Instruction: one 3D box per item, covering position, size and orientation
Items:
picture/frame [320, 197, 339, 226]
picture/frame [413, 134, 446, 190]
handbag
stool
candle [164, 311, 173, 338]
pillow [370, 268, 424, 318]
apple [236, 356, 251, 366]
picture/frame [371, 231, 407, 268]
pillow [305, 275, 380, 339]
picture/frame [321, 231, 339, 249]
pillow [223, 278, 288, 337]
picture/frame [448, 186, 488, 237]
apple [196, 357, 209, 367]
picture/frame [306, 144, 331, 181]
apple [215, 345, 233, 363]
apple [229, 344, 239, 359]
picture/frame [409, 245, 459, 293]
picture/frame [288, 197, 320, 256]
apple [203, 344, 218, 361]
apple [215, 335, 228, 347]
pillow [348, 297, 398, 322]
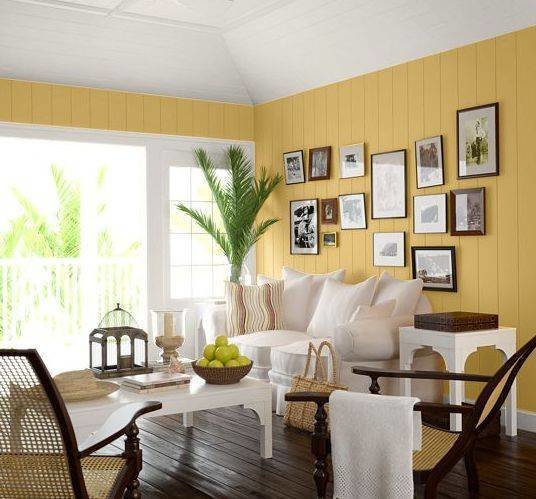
[{"bbox_3d":[0.713,-0.439,4.986,0.027,0.411,0.314,2,-2,-36],"label":"picture/frame"},{"bbox_3d":[1.490,-0.801,4.008,0.235,0.447,0.015,-2,4,38],"label":"picture/frame"},{"bbox_3d":[0.358,1.018,3.342,0.390,0.559,0.179,2,-20,37],"label":"handbag"},{"bbox_3d":[1.416,0.994,3.262,0.740,0.799,0.781,0,-8,7],"label":"stool"},{"bbox_3d":[-0.652,0.490,2.845,0.055,0.158,0.055,1,-5,-14],"label":"candle"},{"bbox_3d":[1.138,0.394,3.778,0.111,0.349,0.349,32,-19,-34],"label":"pillow"},{"bbox_3d":[-0.154,0.694,2.721,0.055,0.069,0.057,-21,0,-10],"label":"apple"},{"bbox_3d":[1.222,-0.006,4.343,0.034,0.344,0.344,5,-5,-34],"label":"picture/frame"},{"bbox_3d":[0.676,0.534,3.934,0.225,0.475,0.502,11,-12,-27],"label":"pillow"},{"bbox_3d":[0.711,-0.114,5.004,0.028,0.181,0.241,4,-7,-39],"label":"picture/frame"},{"bbox_3d":[-0.135,0.610,4.656,0.625,0.630,0.203,-4,14,-8],"label":"pillow"},{"bbox_3d":[1.713,-0.322,3.693,0.040,0.605,0.418,1,0,-29],"label":"picture/frame"},{"bbox_3d":[-0.403,0.703,2.682,0.046,0.061,0.048,-2,26,39],"label":"apple"},{"bbox_3d":[0.607,-1.020,5.090,0.023,0.524,0.421,-1,4,-35],"label":"picture/frame"},{"bbox_3d":[-0.271,0.642,2.661,0.091,0.099,0.091,3,-4,4],"label":"apple"},{"bbox_3d":[-0.211,0.639,2.745,0.068,0.074,0.069,-1,-2,-1],"label":"apple"},{"bbox_3d":[1.512,0.177,3.913,0.028,0.438,0.414,2,-2,-32],"label":"picture/frame"},{"bbox_3d":[0.453,-0.284,5.281,0.032,0.954,0.626,5,-7,-37],"label":"picture/frame"},{"bbox_3d":[-0.360,0.639,2.756,0.087,0.112,0.089,-6,5,-22],"label":"apple"},{"bbox_3d":[-0.291,0.568,2.701,0.073,0.077,0.070,1,9,-14],"label":"apple"},{"bbox_3d":[0.885,0.491,3.550,0.555,0.163,0.197,4,-7,-38],"label":"pillow"}]
